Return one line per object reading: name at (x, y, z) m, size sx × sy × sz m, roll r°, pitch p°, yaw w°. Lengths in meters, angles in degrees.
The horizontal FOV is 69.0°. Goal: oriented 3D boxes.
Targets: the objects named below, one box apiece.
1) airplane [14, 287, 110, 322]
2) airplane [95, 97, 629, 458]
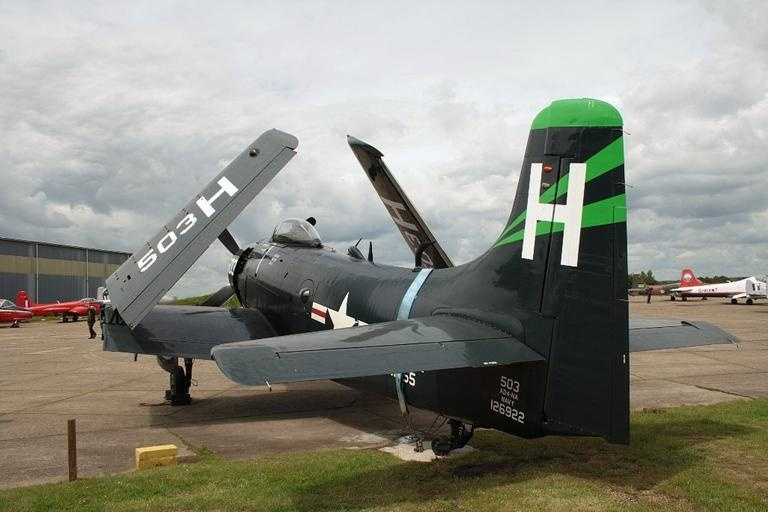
airplane at (-24.368, 3.635, 41.370) m, size 5.627 × 1.430 × 5.657 m, roll -2°, pitch 3°, yaw -22°
airplane at (-0.929, 0.054, 9.704) m, size 6.453 × 3.195 × 7.977 m, roll 1°, pitch 6°, yaw -33°
